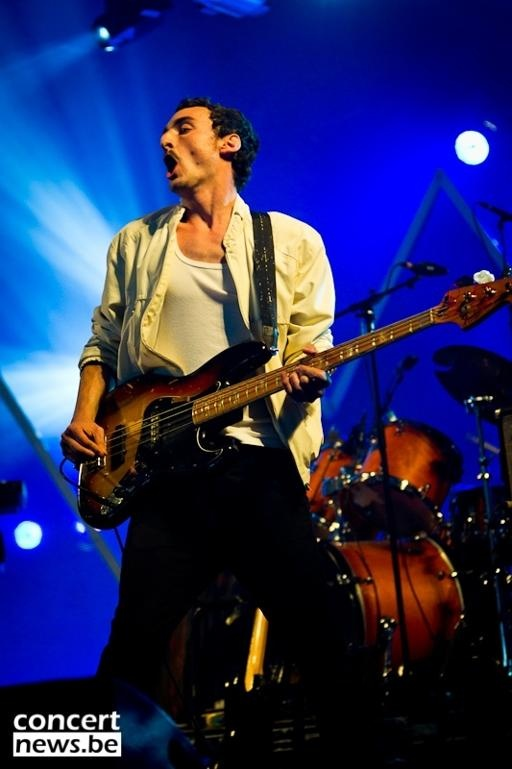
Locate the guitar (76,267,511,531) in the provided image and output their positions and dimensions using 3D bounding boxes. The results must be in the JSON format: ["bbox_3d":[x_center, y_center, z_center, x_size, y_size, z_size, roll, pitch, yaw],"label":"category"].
[{"bbox_3d":[0.028,0.072,2.243,1.122,0.772,0.272,1,-6,15],"label":"guitar"}]
